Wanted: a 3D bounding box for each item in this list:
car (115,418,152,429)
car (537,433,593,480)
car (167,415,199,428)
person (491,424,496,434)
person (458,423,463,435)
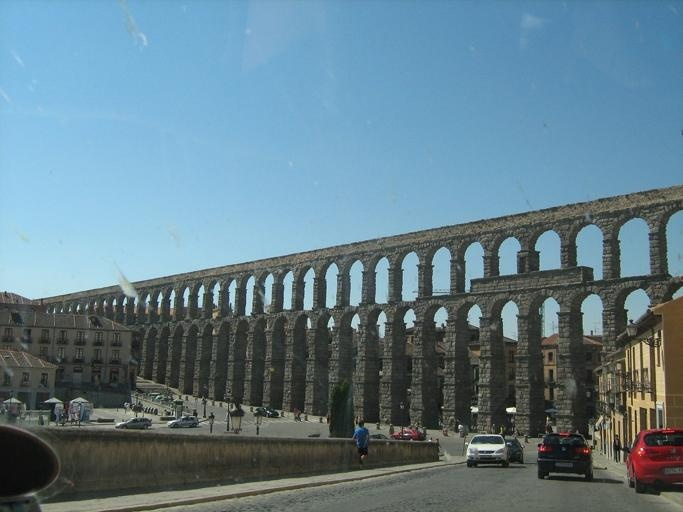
[{"bbox_3d":[-16.404,13.034,59.328,2.319,0.800,1.168,8,-16,-21],"label":"car"},{"bbox_3d":[7.780,6.948,26.019,1.922,1.668,0.920,6,-22,-20],"label":"car"},{"bbox_3d":[-13.199,13.895,62.385,1.966,0.962,1.141,10,-15,-21],"label":"car"},{"bbox_3d":[11.755,13.226,57.542,0.301,0.696,0.887,-7,-22,13],"label":"person"},{"bbox_3d":[9.542,13.776,59.482,0.456,1.135,2.128,-5,-21,8],"label":"person"}]
